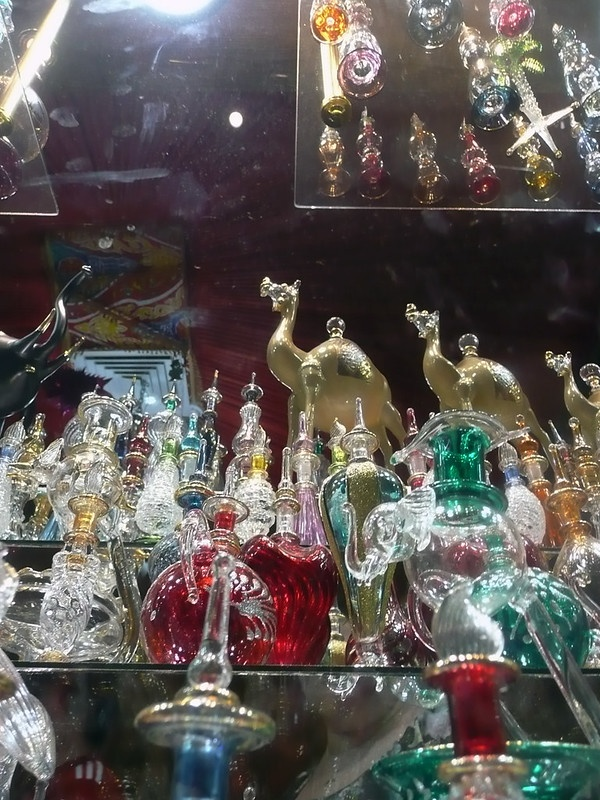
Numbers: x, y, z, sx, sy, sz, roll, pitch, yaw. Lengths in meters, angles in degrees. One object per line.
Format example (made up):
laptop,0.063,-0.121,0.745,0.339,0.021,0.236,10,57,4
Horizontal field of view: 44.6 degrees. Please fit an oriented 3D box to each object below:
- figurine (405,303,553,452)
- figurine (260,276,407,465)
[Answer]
figurine,0.301,-0.040,1.309,0.251,0.264,0.184,0,-3,-33
figurine,0.034,-0.064,1.365,0.203,0.356,0.299,0,-3,-33
